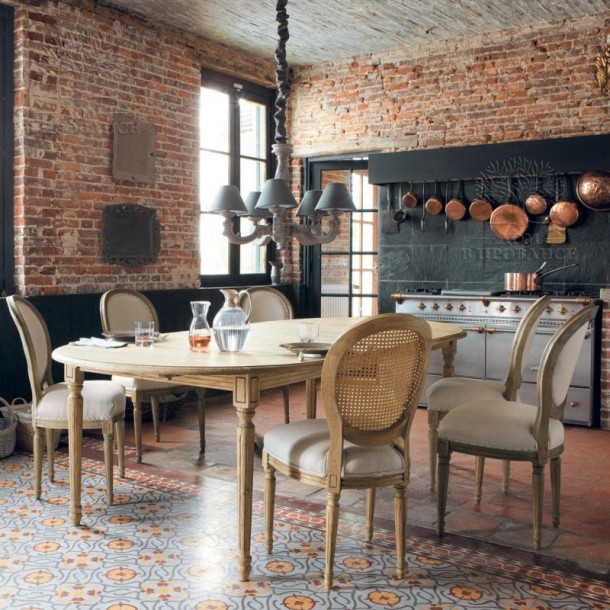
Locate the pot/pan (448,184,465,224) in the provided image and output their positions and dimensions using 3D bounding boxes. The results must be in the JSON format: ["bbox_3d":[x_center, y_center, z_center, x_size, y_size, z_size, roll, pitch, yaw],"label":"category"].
[{"bbox_3d":[1.341,-0.919,5.573,0.183,0.341,0.102,2,4,23],"label":"pot/pan"}]

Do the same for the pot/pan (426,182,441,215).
[{"bbox_3d":[1.160,-0.965,5.687,0.166,0.315,0.087,2,4,26],"label":"pot/pan"}]

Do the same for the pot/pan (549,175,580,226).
[{"bbox_3d":[2.063,-0.834,5.036,0.236,0.369,0.065,-2,-5,44],"label":"pot/pan"}]

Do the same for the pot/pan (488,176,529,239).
[{"bbox_3d":[1.654,-0.797,5.214,0.338,0.468,0.079,4,7,35],"label":"pot/pan"}]

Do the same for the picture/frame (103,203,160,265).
[{"bbox_3d":[-1.387,-0.553,4.885,0.102,0.492,0.630,-4,-2,40],"label":"picture/frame"}]

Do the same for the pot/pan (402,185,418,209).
[{"bbox_3d":[0.959,-0.997,5.810,0.160,0.214,0.097,2,4,19],"label":"pot/pan"}]

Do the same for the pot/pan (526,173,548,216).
[{"bbox_3d":[1.905,-0.913,5.159,0.181,0.277,0.047,2,-1,41],"label":"pot/pan"}]

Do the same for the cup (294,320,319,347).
[{"bbox_3d":[-0.007,0.133,2.807,0.119,0.103,0.105,1,1,-3],"label":"cup"}]

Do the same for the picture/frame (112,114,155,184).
[{"bbox_3d":[-1.359,-1.218,4.908,0.042,0.496,0.416,3,4,33],"label":"picture/frame"}]

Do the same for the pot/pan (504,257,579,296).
[{"bbox_3d":[1.871,-0.230,5.034,0.534,0.188,0.282,1,2,43],"label":"pot/pan"}]

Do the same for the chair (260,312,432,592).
[{"bbox_3d":[0.122,0.519,2.303,0.641,0.988,0.366,1,4,11],"label":"chair"}]
